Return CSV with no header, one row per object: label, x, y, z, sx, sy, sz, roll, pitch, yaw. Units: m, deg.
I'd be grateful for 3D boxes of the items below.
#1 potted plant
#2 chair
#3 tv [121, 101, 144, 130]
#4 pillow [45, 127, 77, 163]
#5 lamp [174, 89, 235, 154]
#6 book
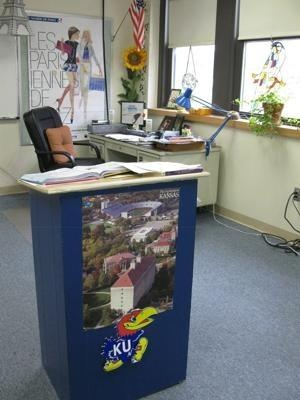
potted plant,1.040,-0.794,2.910,0.372,0.397,0.357,-8,18,-24
chair,-0.822,-0.482,3.363,0.765,0.930,0.624,6,21,13
tv,-0.234,-1.186,4.415,0.408,0.407,0.060,12,12,37
pillow,-0.997,-0.547,3.336,0.105,0.378,0.393,-9,9,23
lamp,0.593,-0.827,3.471,0.613,0.670,0.836,2,10,5
book,-0.115,-0.099,1.066,0.601,0.048,0.285,-5,12,-30
